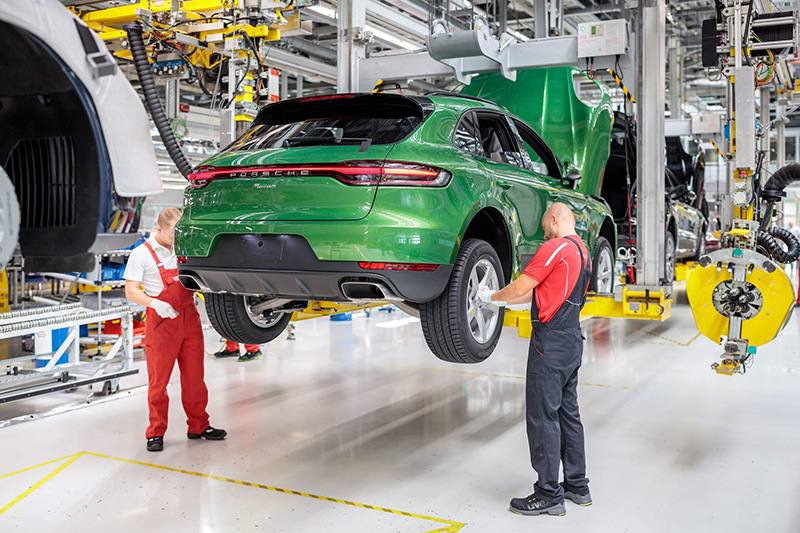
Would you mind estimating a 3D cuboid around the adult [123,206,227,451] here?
[{"bbox_3d":[-1.957,0.545,5.269,0.712,2.001,0.845,-4,-2,40],"label":"adult"}]

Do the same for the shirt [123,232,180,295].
[{"bbox_3d":[-2.064,-0.017,4.987,0.289,0.512,0.637,-2,0,26],"label":"shirt"}]

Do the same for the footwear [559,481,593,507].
[{"bbox_3d":[1.264,1.634,4.343,0.099,0.101,0.262,-2,8,-37],"label":"footwear"}]

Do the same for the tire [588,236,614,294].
[{"bbox_3d":[2.096,-0.007,6.250,0.171,0.464,0.502,-15,-35,30],"label":"tire"}]

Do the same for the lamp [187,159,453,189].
[{"bbox_3d":[-0.464,-0.635,4.073,1.610,0.171,0.296,1,7,4],"label":"lamp"}]

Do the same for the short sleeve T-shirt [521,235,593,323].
[{"bbox_3d":[1.117,0.070,4.329,0.368,0.625,0.663,6,-20,38],"label":"short sleeve T-shirt"}]

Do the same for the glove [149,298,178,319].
[{"bbox_3d":[-2.000,0.358,5.037,0.218,0.177,0.091,-2,8,-21],"label":"glove"}]

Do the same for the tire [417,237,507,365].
[{"bbox_3d":[0.461,0.209,4.388,0.300,0.826,0.881,2,-27,34],"label":"tire"}]

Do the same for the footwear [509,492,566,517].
[{"bbox_3d":[0.938,1.654,4.174,0.401,0.155,0.139,2,-5,5],"label":"footwear"}]

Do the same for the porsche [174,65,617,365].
[{"bbox_3d":[0.181,-0.735,6.239,2.506,2.462,5.101,3,3,35],"label":"porsche"}]
